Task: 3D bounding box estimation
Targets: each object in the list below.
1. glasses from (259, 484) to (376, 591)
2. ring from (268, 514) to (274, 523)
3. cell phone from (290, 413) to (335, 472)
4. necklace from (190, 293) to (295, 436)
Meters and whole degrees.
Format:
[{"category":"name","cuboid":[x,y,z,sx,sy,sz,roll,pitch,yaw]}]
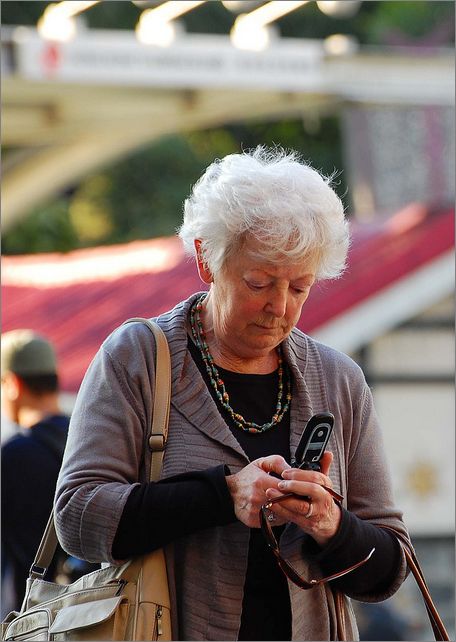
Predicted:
[{"category":"glasses","cuboid":[0.224,0.545,2.717,0.239,0.349,0.181,-28,61,-11]},{"category":"ring","cuboid":[0.105,0.480,2.656,0.017,0.006,0.018,1,83,-6]},{"category":"cell phone","cuboid":[0.207,0.323,2.743,0.100,0.235,0.117,9,61,11]},{"category":"necklace","cuboid":[0.028,0.117,2.900,0.231,0.067,0.345,-15,73,-42]}]
